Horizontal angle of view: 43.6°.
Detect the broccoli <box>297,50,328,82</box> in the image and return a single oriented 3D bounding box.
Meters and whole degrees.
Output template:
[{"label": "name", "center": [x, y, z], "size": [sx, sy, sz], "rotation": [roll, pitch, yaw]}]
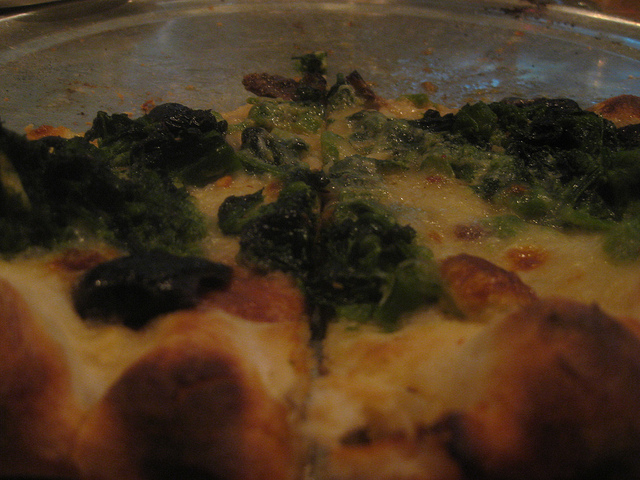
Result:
[{"label": "broccoli", "center": [-0.073, -1.724, 7.942], "size": [0.375, 0.316, 0.283], "rotation": [-9, 39, -12]}]
